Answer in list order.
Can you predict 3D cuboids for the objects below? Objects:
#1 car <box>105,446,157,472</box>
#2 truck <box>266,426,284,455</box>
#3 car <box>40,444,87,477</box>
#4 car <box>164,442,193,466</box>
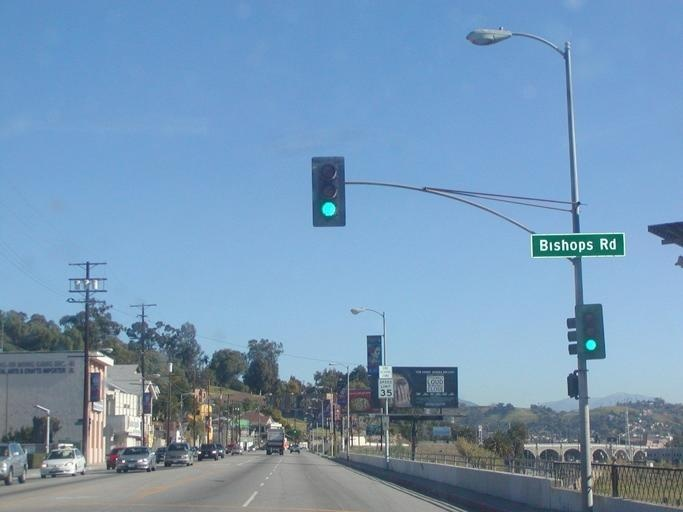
[{"bbox_3d":[-18.407,18.182,102.070,3.107,2.632,2.435,-1,-16,-2],"label":"car"},{"bbox_3d":[-8.838,24.896,152.835,1.683,2.771,3.803,0,-11,-3],"label":"truck"},{"bbox_3d":[-24.372,18.043,99.683,3.751,3.043,2.420,8,-18,-28],"label":"car"},{"bbox_3d":[-15.780,19.190,110.789,2.859,2.562,2.914,-12,-19,30],"label":"car"}]
